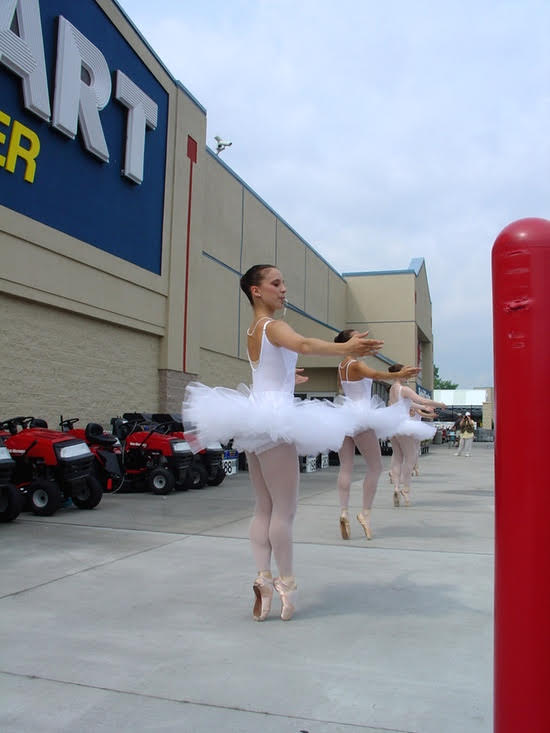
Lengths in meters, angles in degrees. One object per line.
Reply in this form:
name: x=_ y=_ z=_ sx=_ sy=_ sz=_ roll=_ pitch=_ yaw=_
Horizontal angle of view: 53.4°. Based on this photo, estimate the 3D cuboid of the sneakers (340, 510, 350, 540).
sneakers: x=0.695 y=1.591 z=5.452 sx=0.091 sy=0.322 sz=0.120 roll=-2 pitch=-4 yaw=-2

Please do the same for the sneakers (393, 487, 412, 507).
sneakers: x=1.937 y=2.027 z=8.327 sx=0.185 sy=0.230 sz=0.582 roll=-1 pitch=-27 yaw=6
